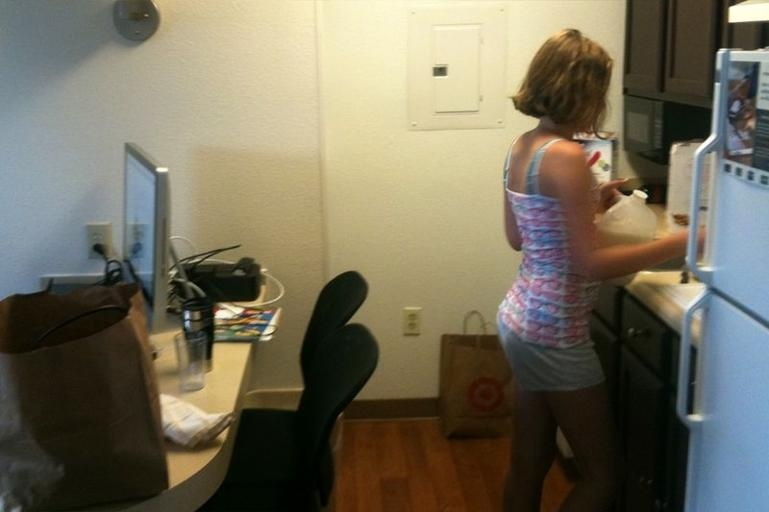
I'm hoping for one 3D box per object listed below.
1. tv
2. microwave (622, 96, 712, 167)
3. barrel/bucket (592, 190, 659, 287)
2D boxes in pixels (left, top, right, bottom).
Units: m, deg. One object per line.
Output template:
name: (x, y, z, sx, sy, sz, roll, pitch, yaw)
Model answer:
tv: (-0.892, -0.101, 2.422, 0.280, 0.597, 0.913, -1, 14, -27)
microwave: (1.338, -0.614, 2.943, 0.335, 0.302, 0.516, -3, 17, 5)
barrel/bucket: (0.816, -0.098, 2.111, 0.232, 0.297, 0.185, 4, -2, -7)
